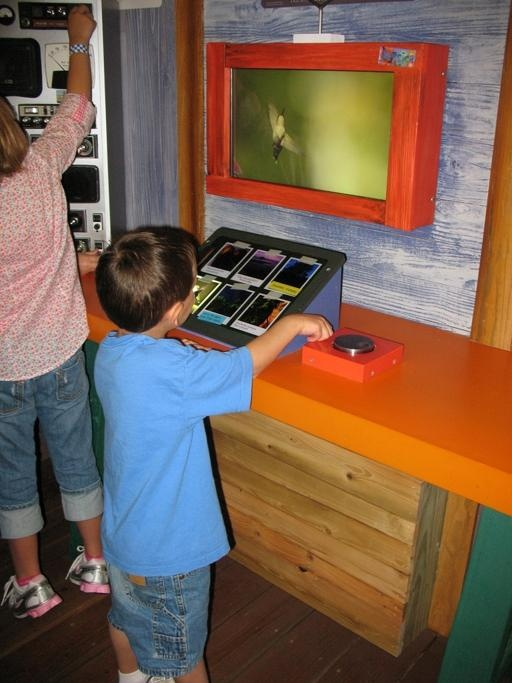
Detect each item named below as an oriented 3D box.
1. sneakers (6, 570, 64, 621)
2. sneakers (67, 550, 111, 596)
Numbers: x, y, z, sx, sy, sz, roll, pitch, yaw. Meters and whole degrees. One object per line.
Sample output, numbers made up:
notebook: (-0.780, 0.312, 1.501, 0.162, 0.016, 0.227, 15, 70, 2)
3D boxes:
sneakers: (-0.594, 0.661, 1.403, 0.164, 0.079, 0.086, -21, 19, 51)
sneakers: (-0.489, 0.644, 1.546, 0.080, 0.093, 0.193, 1, 5, -30)
